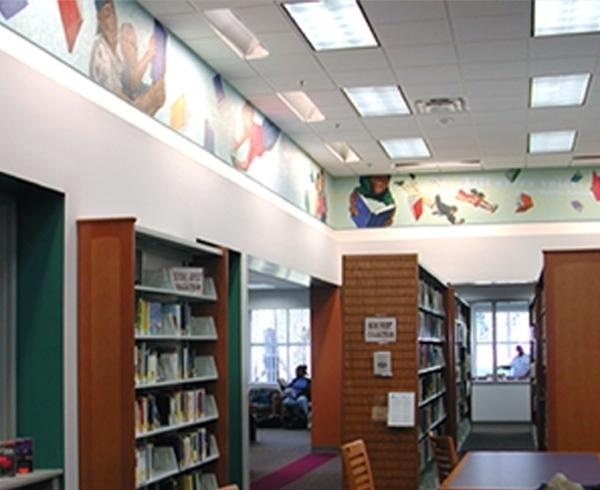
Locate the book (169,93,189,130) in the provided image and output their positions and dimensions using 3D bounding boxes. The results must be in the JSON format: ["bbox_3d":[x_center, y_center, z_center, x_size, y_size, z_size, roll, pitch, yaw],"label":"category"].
[{"bbox_3d":[-1.346,-1.453,5.458,0.069,0.342,0.321,4,4,16],"label":"book"}]

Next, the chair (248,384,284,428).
[{"bbox_3d":[-0.907,4.202,12.949,0.708,1.189,0.494,-2,-8,1],"label":"chair"}]

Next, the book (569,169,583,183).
[{"bbox_3d":[5.939,-1.487,10.655,0.171,0.261,0.040,23,-2,13],"label":"book"}]

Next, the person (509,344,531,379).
[{"bbox_3d":[6.901,3.693,15.548,0.473,1.074,0.700,0,-1,-19],"label":"person"}]

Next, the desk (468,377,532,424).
[{"bbox_3d":[5.791,4.541,14.345,1.988,1.638,1.175,-1,-5,8],"label":"desk"}]

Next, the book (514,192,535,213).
[{"bbox_3d":[4.903,-0.905,10.928,0.319,0.475,0.454,-2,-12,3],"label":"book"}]

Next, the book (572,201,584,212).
[{"bbox_3d":[5.938,-0.845,10.613,0.208,0.220,0.057,-42,-26,16],"label":"book"}]

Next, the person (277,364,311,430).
[{"bbox_3d":[-0.136,4.035,13.157,0.751,1.577,0.904,0,-12,-2],"label":"person"}]
